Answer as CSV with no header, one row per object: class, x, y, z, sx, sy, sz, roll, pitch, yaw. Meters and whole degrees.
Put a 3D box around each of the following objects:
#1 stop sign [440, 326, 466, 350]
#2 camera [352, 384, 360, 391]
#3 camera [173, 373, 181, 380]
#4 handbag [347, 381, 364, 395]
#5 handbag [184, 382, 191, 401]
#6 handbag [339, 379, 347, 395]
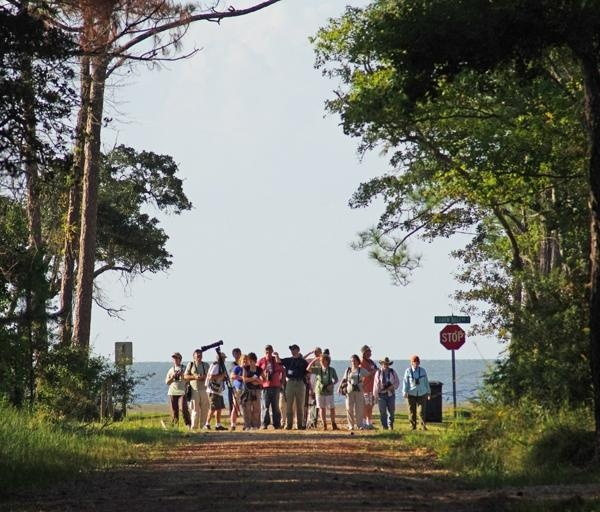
stop sign,4.172,2.200,41.646,0.621,0.767,0.501,2,-11,-7
camera,1.389,3.228,37.643,0.131,0.194,0.137,5,8,40
camera,-3.023,2.951,37.727,0.155,0.177,0.190,1,-12,-3
handbag,1.361,3.239,37.653,0.204,0.316,0.304,2,6,3
handbag,-2.751,3.315,37.813,0.161,0.401,0.410,1,-12,-5
handbag,1.076,3.220,37.835,0.207,0.341,0.129,-13,-19,39
